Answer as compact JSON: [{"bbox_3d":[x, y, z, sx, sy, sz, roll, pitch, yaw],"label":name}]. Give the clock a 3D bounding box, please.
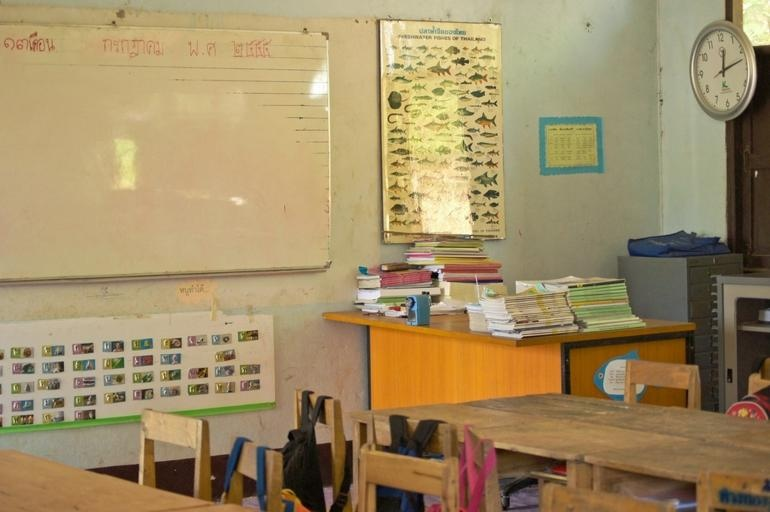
[{"bbox_3d":[2.617,-1.441,5.707,0.133,0.815,0.518,-3,0,-26],"label":"clock"}]
